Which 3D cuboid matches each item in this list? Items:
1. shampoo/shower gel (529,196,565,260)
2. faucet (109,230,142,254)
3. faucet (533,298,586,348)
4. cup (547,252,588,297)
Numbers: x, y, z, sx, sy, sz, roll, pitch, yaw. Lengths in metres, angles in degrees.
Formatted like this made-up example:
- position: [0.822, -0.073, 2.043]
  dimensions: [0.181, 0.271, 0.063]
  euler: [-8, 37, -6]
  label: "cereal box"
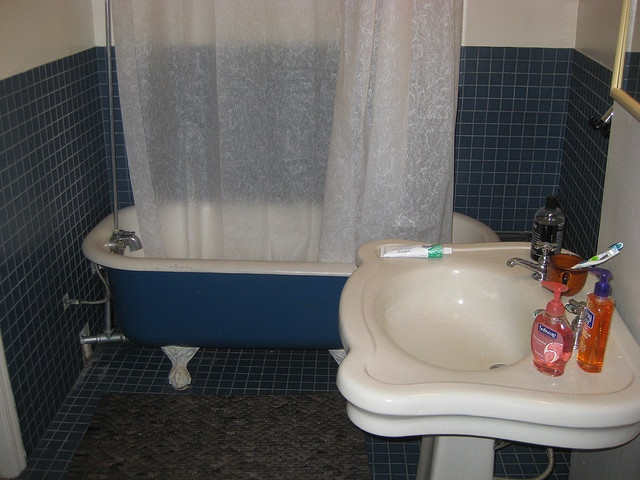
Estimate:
- position: [0.644, -0.038, 1.383]
  dimensions: [0.098, 0.195, 0.106]
  euler: [1, 31, 16]
  label: "shampoo/shower gel"
- position: [-0.904, 0.006, 2.262]
  dimensions: [0.141, 0.100, 0.085]
  euler: [2, 15, 1]
  label: "faucet"
- position: [0.590, 0.177, 1.190]
  dimensions: [0.100, 0.129, 0.121]
  euler: [-5, 12, -3]
  label: "faucet"
- position: [0.665, 0.087, 1.310]
  dimensions: [0.109, 0.093, 0.111]
  euler: [-6, 15, 2]
  label: "cup"
